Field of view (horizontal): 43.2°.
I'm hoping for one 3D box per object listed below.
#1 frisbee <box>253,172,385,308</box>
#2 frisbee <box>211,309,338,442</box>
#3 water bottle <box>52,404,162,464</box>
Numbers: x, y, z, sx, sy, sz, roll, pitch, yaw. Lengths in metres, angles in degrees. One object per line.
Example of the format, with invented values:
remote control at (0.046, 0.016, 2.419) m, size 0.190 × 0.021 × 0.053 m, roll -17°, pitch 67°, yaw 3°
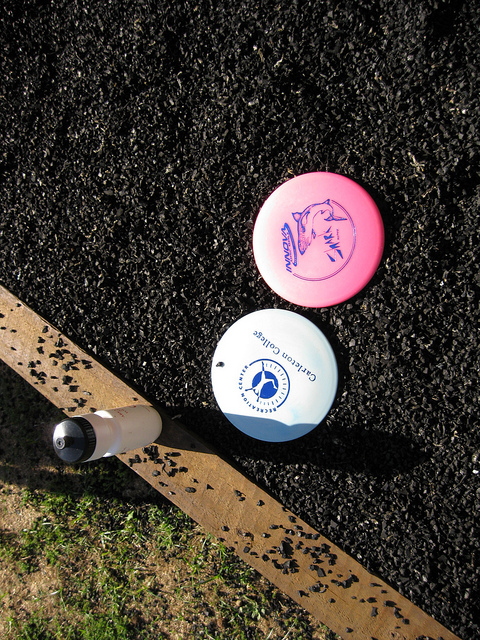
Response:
frisbee at (0.186, -0.196, 1.470) m, size 0.310 × 0.069 × 0.317 m, roll 1°, pitch 84°, yaw 5°
frisbee at (0.087, 0.133, 1.494) m, size 0.295 × 0.055 × 0.318 m, roll 0°, pitch 84°, yaw 5°
water bottle at (-0.321, 0.271, 1.463) m, size 0.121 × 0.341 × 0.120 m, roll -1°, pitch 87°, yaw 22°
